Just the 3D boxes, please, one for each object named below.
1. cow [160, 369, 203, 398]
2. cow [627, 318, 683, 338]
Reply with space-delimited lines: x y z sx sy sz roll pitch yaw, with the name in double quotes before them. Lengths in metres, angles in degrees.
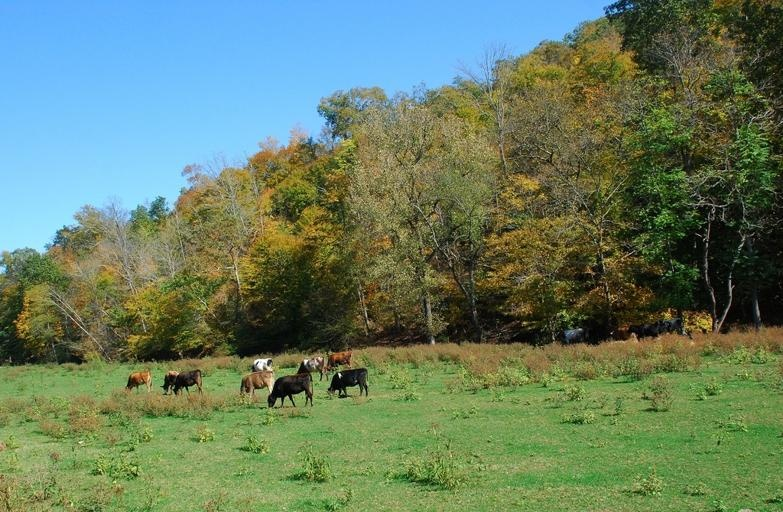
"cow" -13.178 8.017 46.986 2.128 1.513 3.697 1 -12 -24
"cow" 19.865 5.360 55.325 2.701 1.404 0.677 -11 -33 26
